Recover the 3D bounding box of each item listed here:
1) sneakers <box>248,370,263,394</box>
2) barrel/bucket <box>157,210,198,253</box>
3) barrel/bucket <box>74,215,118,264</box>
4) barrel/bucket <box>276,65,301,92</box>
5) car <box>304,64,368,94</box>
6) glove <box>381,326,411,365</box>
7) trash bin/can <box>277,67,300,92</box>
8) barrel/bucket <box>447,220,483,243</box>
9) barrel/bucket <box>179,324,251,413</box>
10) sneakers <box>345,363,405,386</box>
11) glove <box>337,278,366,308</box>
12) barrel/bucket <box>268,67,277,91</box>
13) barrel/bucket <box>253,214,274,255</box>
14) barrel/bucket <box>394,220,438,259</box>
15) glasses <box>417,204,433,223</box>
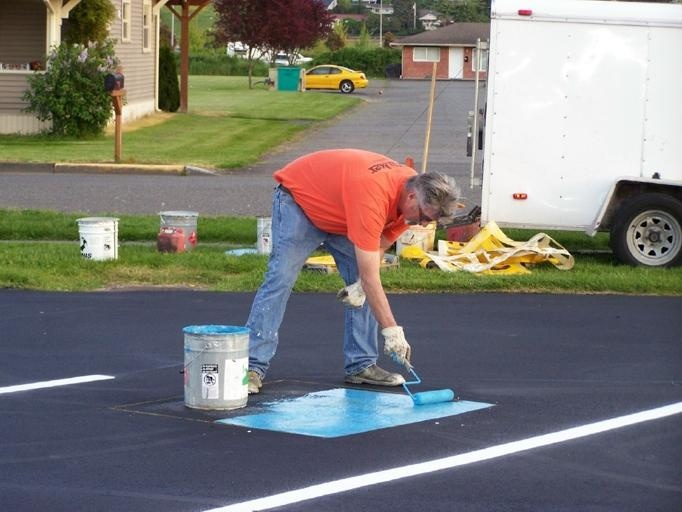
[{"bbox_3d":[-0.928,1.359,17.200,0.191,0.244,0.521,1,-6,-1],"label":"sneakers"},{"bbox_3d":[-2.232,-0.348,21.771,0.512,0.543,0.534,1,2,0],"label":"barrel/bucket"},{"bbox_3d":[-3.341,-0.206,21.308,0.562,0.599,0.579,2,1,0],"label":"barrel/bucket"},{"bbox_3d":[-1.868,-6.446,57.335,0.823,0.882,0.855,1,2,0],"label":"barrel/bucket"},{"bbox_3d":[-0.156,-6.485,57.485,2.305,0.855,1.061,7,13,11],"label":"car"},{"bbox_3d":[0.631,0.928,16.986,0.291,0.427,0.173,-8,17,8],"label":"glove"},{"bbox_3d":[-1.836,-6.488,57.393,0.810,0.863,0.854,2,16,2],"label":"trash bin/can"},{"bbox_3d":[1.750,-0.341,22.279,0.294,0.351,0.346,6,7,42],"label":"barrel/bucket"},{"bbox_3d":[-1.334,1.178,17.127,0.744,0.850,0.725,0,5,0],"label":"barrel/bucket"},{"bbox_3d":[0.397,1.334,17.653,0.643,0.240,0.262,-1,1,6],"label":"sneakers"},{"bbox_3d":[0.131,0.407,17.241,0.290,0.245,0.146,-6,-34,-9],"label":"glove"},{"bbox_3d":[-2.416,-6.411,57.037,0.271,0.765,0.604,0,14,-2],"label":"barrel/bucket"},{"bbox_3d":[-1.080,-0.227,21.855,0.430,0.602,0.452,-2,-11,0],"label":"barrel/bucket"},{"bbox_3d":[1.057,-0.229,21.811,0.424,0.458,0.445,4,0,0],"label":"barrel/bucket"},{"bbox_3d":[0.902,-0.464,16.494,0.114,0.119,0.186,-9,-28,-3],"label":"glasses"}]
